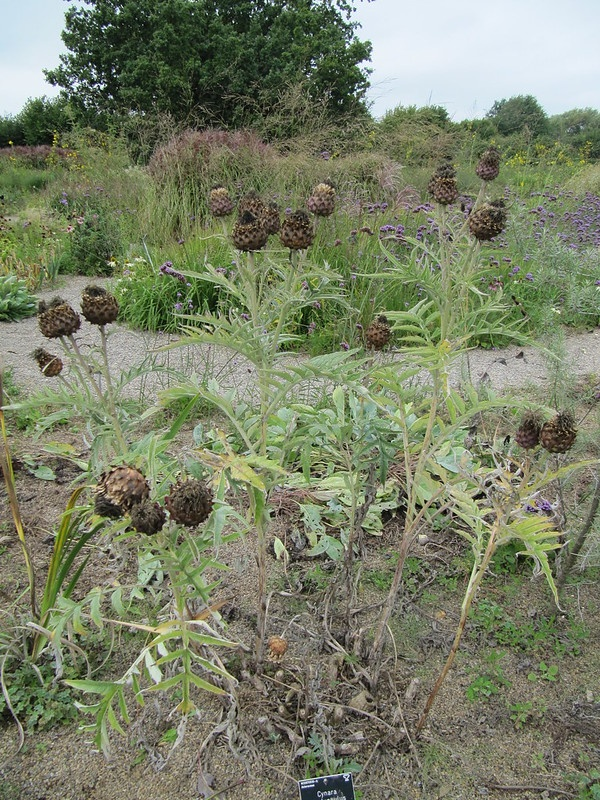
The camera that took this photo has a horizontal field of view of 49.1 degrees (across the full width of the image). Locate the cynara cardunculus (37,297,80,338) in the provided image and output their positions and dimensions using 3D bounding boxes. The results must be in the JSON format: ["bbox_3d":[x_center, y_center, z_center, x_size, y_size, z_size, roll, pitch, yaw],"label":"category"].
[{"bbox_3d":[-0.733,-0.243,1.996,0.111,0.148,0.246,-7,19,-20],"label":"cynara cardunculus"}]

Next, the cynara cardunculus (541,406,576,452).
[{"bbox_3d":[0.618,0.082,1.573,0.075,0.123,0.091,7,20,20],"label":"cynara cardunculus"}]

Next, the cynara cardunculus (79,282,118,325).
[{"bbox_3d":[-0.596,-0.278,1.954,0.096,0.136,0.168,-5,18,-16],"label":"cynara cardunculus"}]
